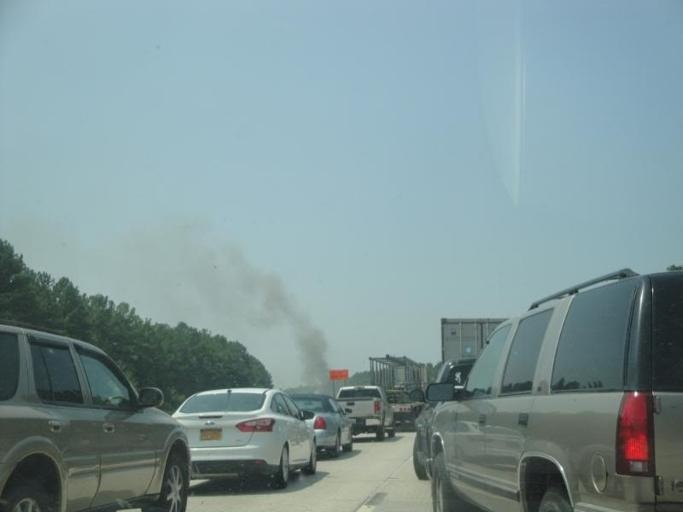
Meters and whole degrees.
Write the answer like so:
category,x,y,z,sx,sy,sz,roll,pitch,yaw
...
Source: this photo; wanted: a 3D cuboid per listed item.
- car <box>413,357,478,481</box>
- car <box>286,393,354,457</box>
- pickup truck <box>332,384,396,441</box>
category,x,y,z,sx,sy,sz,roll,pitch,yaw
car,1.825,2.655,12.804,1.191,1.458,2.232,1,-7,2
car,-0.499,4.237,19.588,0.953,0.955,2.695,-1,-7,6
pickup truck,1.019,5.677,28.218,1.188,1.129,2.811,-2,-22,9
